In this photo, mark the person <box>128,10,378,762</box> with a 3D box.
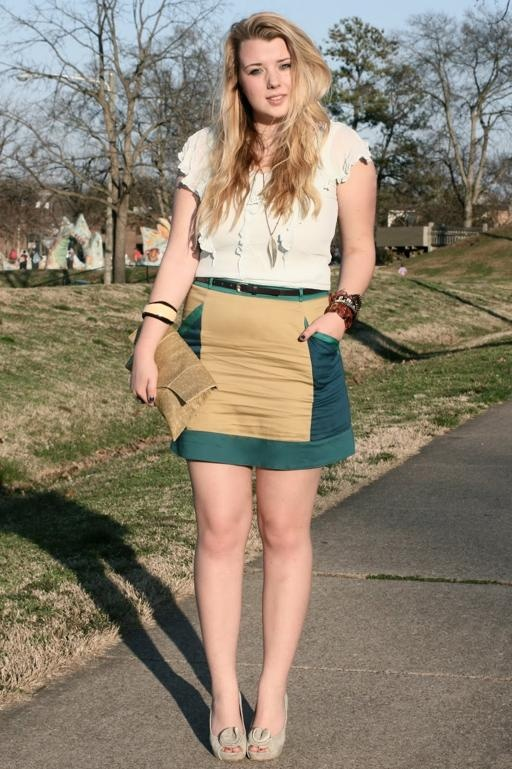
[{"bbox_3d":[-0.011,0.017,2.092,0.681,2.024,0.318,-1,3,8],"label":"person"}]

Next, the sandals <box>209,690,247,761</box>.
[{"bbox_3d":[-0.079,0.925,2.084,0.071,0.055,0.205,-2,38,0],"label":"sandals"}]

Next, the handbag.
[{"bbox_3d":[-0.206,-0.008,1.996,0.098,0.254,0.216,8,40,-41],"label":"handbag"}]

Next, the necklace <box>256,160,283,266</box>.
[{"bbox_3d":[0.032,-0.434,1.994,0.034,0.248,0.063,-3,4,-30],"label":"necklace"}]

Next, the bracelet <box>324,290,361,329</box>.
[{"bbox_3d":[0.239,-0.212,2.095,0.095,0.107,0.044,14,-4,-15],"label":"bracelet"}]

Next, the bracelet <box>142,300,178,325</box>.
[{"bbox_3d":[-0.270,-0.206,2.140,0.074,0.043,0.082,12,-1,-28],"label":"bracelet"}]

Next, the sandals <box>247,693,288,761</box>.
[{"bbox_3d":[0.036,0.941,2.066,0.066,0.072,0.188,2,21,13],"label":"sandals"}]
